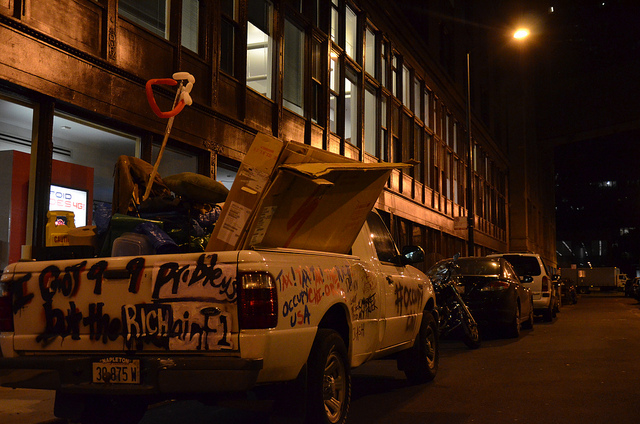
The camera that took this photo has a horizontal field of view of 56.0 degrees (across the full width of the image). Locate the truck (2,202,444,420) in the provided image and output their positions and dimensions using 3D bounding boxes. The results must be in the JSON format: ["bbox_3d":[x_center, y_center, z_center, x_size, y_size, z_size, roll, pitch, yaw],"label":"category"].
[{"bbox_3d":[-0.474,1.278,7.738,2.832,2.126,5.037,-4,-6,34],"label":"truck"}]
